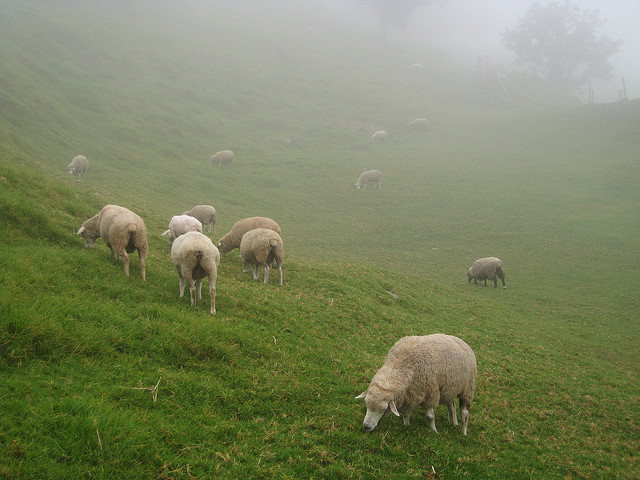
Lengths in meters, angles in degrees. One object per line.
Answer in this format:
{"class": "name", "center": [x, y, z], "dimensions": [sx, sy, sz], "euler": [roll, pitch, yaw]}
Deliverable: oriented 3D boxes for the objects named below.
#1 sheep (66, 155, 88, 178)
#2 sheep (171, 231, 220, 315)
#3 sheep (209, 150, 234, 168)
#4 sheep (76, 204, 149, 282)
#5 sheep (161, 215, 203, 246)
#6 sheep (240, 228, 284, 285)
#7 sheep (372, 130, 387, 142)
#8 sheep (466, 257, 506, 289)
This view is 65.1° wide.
{"class": "sheep", "center": [-17.667, -5.414, 36.409], "dimensions": [0.624, 1.511, 2.677], "euler": [5, 2, -6]}
{"class": "sheep", "center": [-4.647, 1.175, 18.771], "dimensions": [2.235, 2.867, 1.022], "euler": [7, 3, 35]}
{"class": "sheep", "center": [-10.837, -8.996, 55.105], "dimensions": [2.701, 1.662, 1.189], "euler": [5, 3, -16]}
{"class": "sheep", "center": [-7.983, 0.052, 19.738], "dimensions": [3.042, 2.739, 1.266], "euler": [7, 3, 37]}
{"class": "sheep", "center": [-6.743, -0.278, 24.511], "dimensions": [1.299, 1.822, 2.979], "euler": [-3, -2, -42]}
{"class": "sheep", "center": [-2.691, 0.693, 22.760], "dimensions": [2.054, 2.401, 1.147], "euler": [7, 3, 38]}
{"class": "sheep", "center": [8.361, -14.481, 70.441], "dimensions": [1.982, 1.162, 1.082], "euler": [5, 3, -8]}
{"class": "sheep", "center": [10.308, 2.141, 31.510], "dimensions": [1.281, 1.901, 2.637], "euler": [1, -6, -27]}
